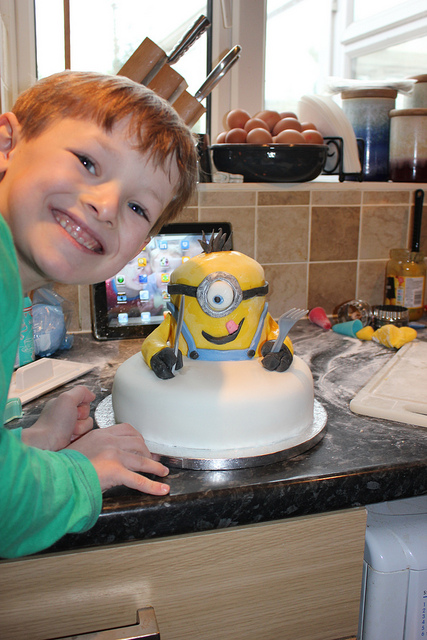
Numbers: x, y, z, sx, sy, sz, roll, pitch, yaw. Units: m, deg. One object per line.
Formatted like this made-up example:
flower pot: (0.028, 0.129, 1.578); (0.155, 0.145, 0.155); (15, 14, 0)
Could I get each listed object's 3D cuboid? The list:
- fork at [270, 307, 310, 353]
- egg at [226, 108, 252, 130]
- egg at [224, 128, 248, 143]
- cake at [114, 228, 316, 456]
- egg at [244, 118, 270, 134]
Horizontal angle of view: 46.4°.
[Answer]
fork: (0.097, 0.008, 0.663); (0.042, 0.064, 0.072); (0, 20, -8)
egg: (0.056, -0.460, 1.155); (0.053, 0.052, 0.019); (-34, 10, -17)
egg: (0.046, -0.394, 1.072); (0.049, 0.034, 0.050); (-1, 9, 1)
cake: (-0.001, 0.018, 0.661); (0.262, 0.227, 0.260); (-7, 18, -28)
egg: (0.095, -0.426, 1.090); (0.058, 0.041, 0.068); (-2, 9, 0)
